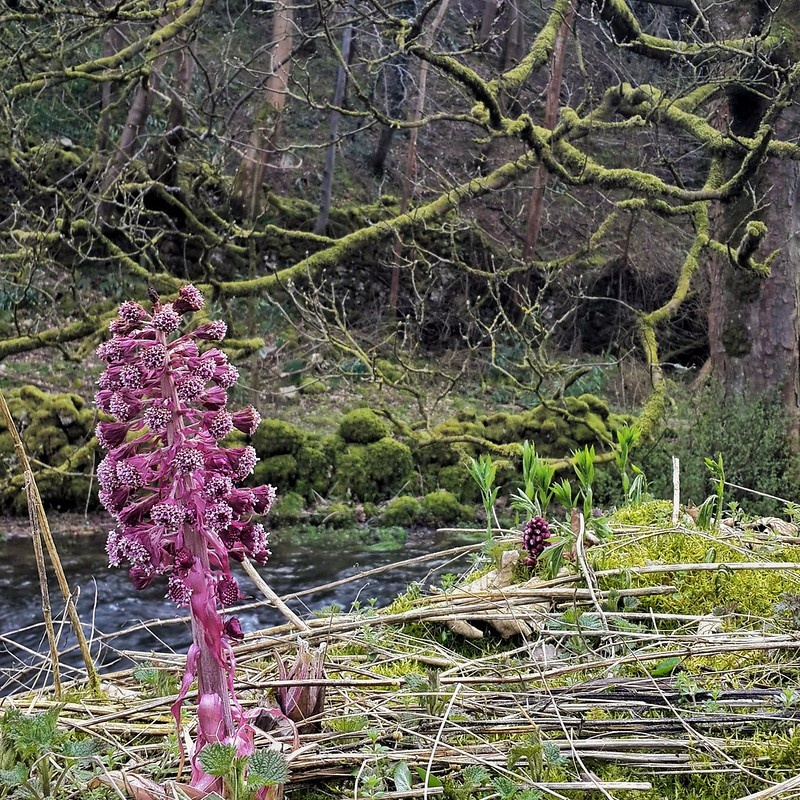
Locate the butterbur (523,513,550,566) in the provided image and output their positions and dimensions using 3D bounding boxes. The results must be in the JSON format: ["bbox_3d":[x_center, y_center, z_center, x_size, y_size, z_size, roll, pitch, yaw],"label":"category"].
[{"bbox_3d":[0.768,0.799,6.872,0.159,0.293,0.204,-1,4,5],"label":"butterbur"}]

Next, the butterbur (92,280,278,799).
[{"bbox_3d":[-0.974,0.622,5.584,0.754,2.281,0.436,0,4,20],"label":"butterbur"}]
